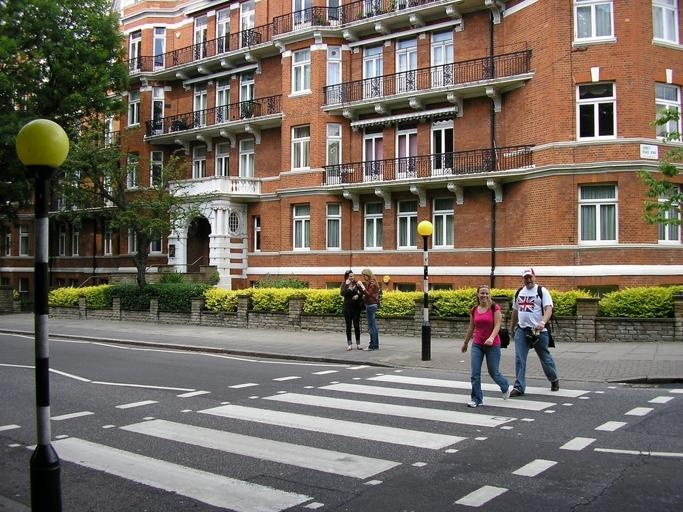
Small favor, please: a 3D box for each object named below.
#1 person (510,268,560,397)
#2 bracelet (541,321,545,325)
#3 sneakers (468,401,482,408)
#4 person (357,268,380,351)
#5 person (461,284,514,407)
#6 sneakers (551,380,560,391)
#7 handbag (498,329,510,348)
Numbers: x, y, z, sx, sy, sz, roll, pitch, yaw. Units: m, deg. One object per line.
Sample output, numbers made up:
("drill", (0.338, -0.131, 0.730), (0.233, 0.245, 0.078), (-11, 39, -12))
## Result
("person", (4.284, 1.650, 17.328), (0.990, 2.766, 1.138), (-1, -2, 17))
("bracelet", (4.337, 1.409, 16.798), (0.054, 0.057, 0.122), (-1, -2, 25))
("sneakers", (2.766, 3.064, 16.184), (0.104, 0.109, 0.263), (-9, -14, 43))
("person", (0.896, 1.570, 23.453), (0.526, 2.411, 0.822), (0, -2, 2))
("person", (3.034, 1.870, 16.518), (0.793, 2.494, 1.042), (-1, -2, 24))
("sneakers", (4.752, 2.892, 17.410), (0.106, 0.211, 0.302), (1, 3, 14))
("handbag", (3.447, 1.705, 16.496), (0.174, 0.395, 0.610), (-1, -2, 17))
